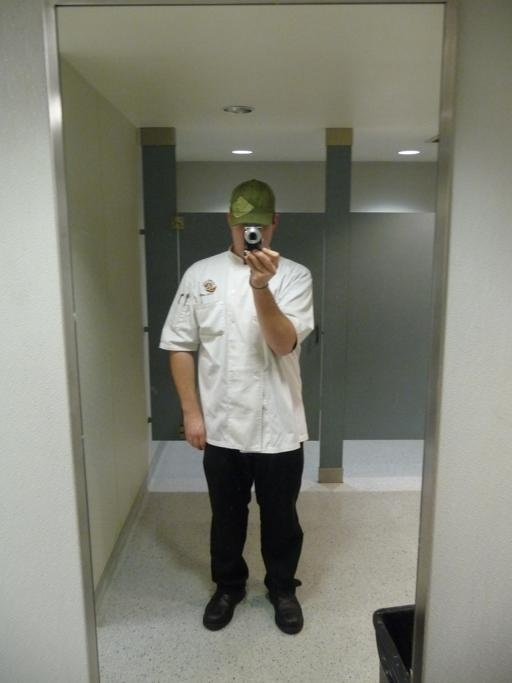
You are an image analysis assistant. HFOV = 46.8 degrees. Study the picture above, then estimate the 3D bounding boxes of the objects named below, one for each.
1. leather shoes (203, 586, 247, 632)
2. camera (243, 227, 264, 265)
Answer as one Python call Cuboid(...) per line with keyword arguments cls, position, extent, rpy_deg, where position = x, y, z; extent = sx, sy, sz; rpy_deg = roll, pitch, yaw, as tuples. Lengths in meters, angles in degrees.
Cuboid(cls="leather shoes", position=(-0.079, 0.598, 1.340), extent=(0.046, 0.056, 0.140), rpy_deg=(3, 7, 14))
Cuboid(cls="camera", position=(-0.003, -0.174, 1.098), extent=(0.036, 0.079, 0.043), rpy_deg=(-1, 29, 0))
